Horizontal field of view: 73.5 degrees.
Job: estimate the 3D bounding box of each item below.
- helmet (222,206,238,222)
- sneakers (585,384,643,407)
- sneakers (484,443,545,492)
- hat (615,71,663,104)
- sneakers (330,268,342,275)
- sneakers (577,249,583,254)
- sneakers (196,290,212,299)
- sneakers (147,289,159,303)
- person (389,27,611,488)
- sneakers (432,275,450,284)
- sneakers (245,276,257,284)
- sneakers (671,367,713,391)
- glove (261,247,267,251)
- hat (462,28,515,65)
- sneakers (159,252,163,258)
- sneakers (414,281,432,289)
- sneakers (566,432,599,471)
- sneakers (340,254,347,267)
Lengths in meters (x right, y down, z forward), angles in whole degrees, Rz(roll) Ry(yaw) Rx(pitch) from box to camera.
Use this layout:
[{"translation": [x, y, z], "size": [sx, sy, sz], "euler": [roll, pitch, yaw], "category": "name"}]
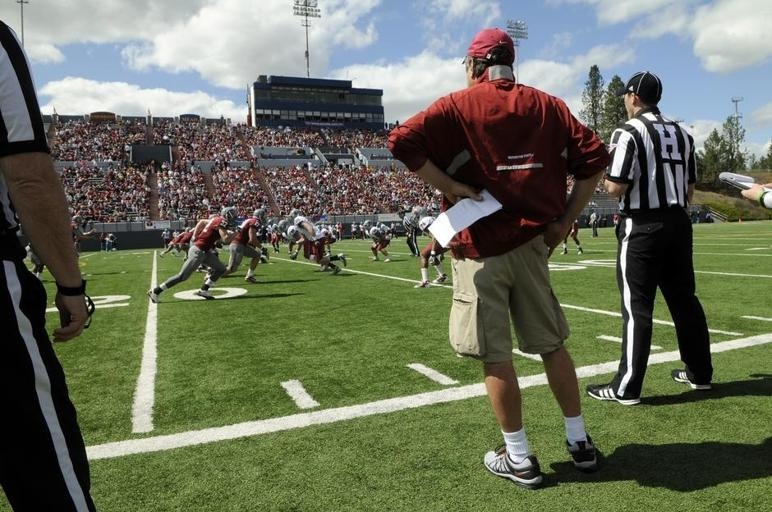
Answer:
[{"translation": [-3.146, -0.862, 10.291], "size": [0.269, 0.339, 0.346], "euler": [12, 6, 40], "category": "helmet"}, {"translation": [1.705, 1.039, 3.877], "size": [0.351, 0.161, 0.142], "euler": [10, 7, 42], "category": "sneakers"}, {"translation": [0.720, 1.212, 3.064], "size": [0.178, 0.183, 0.432], "euler": [-12, 5, -29], "category": "sneakers"}, {"translation": [1.984, -1.363, 4.067], "size": [0.359, 0.215, 0.259], "euler": [14, 23, 26], "category": "hat"}, {"translation": [-1.268, 0.387, 12.742], "size": [0.272, 0.126, 0.102], "euler": [2, 34, 45], "category": "sneakers"}, {"translation": [6.276, -0.188, 16.723], "size": [0.167, 0.218, 0.555], "euler": [-1, 6, 15], "category": "sneakers"}, {"translation": [-3.202, 0.660, 9.116], "size": [0.250, 0.163, 0.303], "euler": [-6, 9, -21], "category": "sneakers"}, {"translation": [-3.913, 0.666, 8.675], "size": [0.106, 0.234, 0.077], "euler": [-28, 27, -1], "category": "sneakers"}, {"translation": [0.706, 0.131, 3.056], "size": [1.151, 2.299, 0.583], "euler": [-1, 9, 12], "category": "person"}, {"translation": [1.071, 0.464, 10.422], "size": [0.360, 0.154, 0.137], "euler": [-7, 3, 38], "category": "sneakers"}, {"translation": [-2.988, 0.529, 11.531], "size": [0.331, 0.142, 0.120], "euler": [4, -6, 19], "category": "sneakers"}, {"translation": [2.395, 0.971, 4.079], "size": [0.115, 0.135, 0.297], "euler": [0, 9, -9], "category": "sneakers"}, {"translation": [-4.421, -0.266, 18.621], "size": [0.267, 0.145, 0.350], "euler": [2, 2, -19], "category": "glove"}, {"translation": [0.644, -1.337, 3.287], "size": [0.310, 0.222, 0.407], "euler": [3, 9, -5], "category": "hat"}, {"translation": [-9.799, -0.073, 22.461], "size": [0.174, 0.117, 0.327], "euler": [0, -14, -15], "category": "sneakers"}, {"translation": [0.677, 0.541, 9.814], "size": [0.335, 0.143, 0.118], "euler": [2, 2, 23], "category": "sneakers"}, {"translation": [1.186, 1.185, 3.132], "size": [0.104, 0.131, 0.298], "euler": [-12, -5, 12], "category": "sneakers"}, {"translation": [-1.196, 0.113, 14.238], "size": [0.114, 0.335, 0.145], "euler": [-8, 14, 6], "category": "sneakers"}]
